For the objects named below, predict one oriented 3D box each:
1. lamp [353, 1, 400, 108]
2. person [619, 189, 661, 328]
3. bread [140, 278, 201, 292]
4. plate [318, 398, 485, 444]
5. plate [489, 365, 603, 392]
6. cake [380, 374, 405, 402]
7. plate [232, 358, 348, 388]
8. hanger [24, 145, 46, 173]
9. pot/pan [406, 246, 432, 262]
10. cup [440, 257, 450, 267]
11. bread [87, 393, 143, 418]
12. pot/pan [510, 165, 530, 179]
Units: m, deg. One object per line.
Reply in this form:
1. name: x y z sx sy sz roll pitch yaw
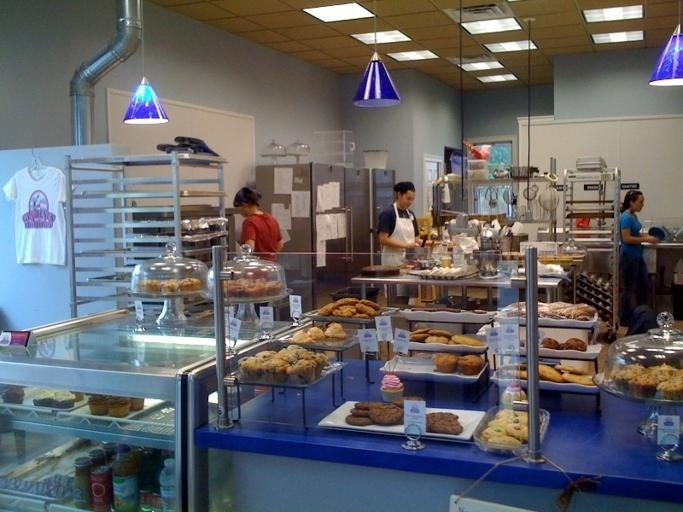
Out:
1. lamp: 0.243 -1.278 4.066 0.318 0.415 0.384 -1 4 4
2. person: 3.288 0.078 6.336 0.369 1.597 0.804 1 5 28
3. bread: -0.774 0.130 2.585 0.277 0.060 0.074 -2 5 -11
4. plate: 0.223 0.584 1.989 0.349 0.036 0.208 0 4 18
5. plate: 0.708 0.429 2.003 0.260 0.037 0.180 1 4 23
6. cake: 0.187 0.481 2.091 0.080 0.087 0.084 0 -6 3
7. plate: -0.184 0.422 2.107 0.395 0.094 0.114 -2 5 -7
8. hanger: -2.359 -0.723 4.388 0.225 0.203 0.062 2 5 31
9. pot/pan: 0.323 -0.005 2.395 0.100 0.054 0.105 -1 5 -1
10. cup: 0.413 0.024 2.263 0.032 0.031 0.032 0 8 0
11. bread: -0.881 0.578 2.224 0.134 0.050 0.145 1 -4 0
12. pot/pan: 1.625 -0.761 5.205 0.113 0.090 0.129 1 -1 -30
